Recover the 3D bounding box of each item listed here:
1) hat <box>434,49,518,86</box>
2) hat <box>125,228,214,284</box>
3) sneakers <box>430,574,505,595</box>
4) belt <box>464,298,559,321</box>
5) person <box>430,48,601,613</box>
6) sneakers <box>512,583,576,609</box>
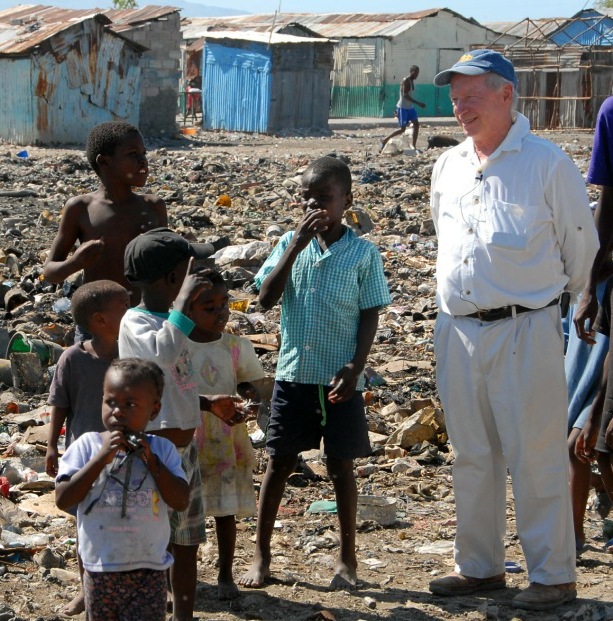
[{"bbox_3d":[0.663,-0.966,3.822,0.271,0.118,0.174,15,1,-8],"label":"hat"},{"bbox_3d":[-0.502,-0.195,3.640,0.287,0.125,0.174,-24,21,-20],"label":"hat"},{"bbox_3d":[0.635,1.076,3.978,0.290,0.088,0.096,2,-1,-14],"label":"sneakers"},{"bbox_3d":[0.774,0.001,3.774,0.172,0.051,0.142,-12,2,-17],"label":"belt"},{"bbox_3d":[0.760,0.069,3.855,0.756,2.141,0.394,9,12,35],"label":"person"},{"bbox_3d":[0.895,1.074,3.743,0.220,0.077,0.087,2,-1,-17],"label":"sneakers"}]
